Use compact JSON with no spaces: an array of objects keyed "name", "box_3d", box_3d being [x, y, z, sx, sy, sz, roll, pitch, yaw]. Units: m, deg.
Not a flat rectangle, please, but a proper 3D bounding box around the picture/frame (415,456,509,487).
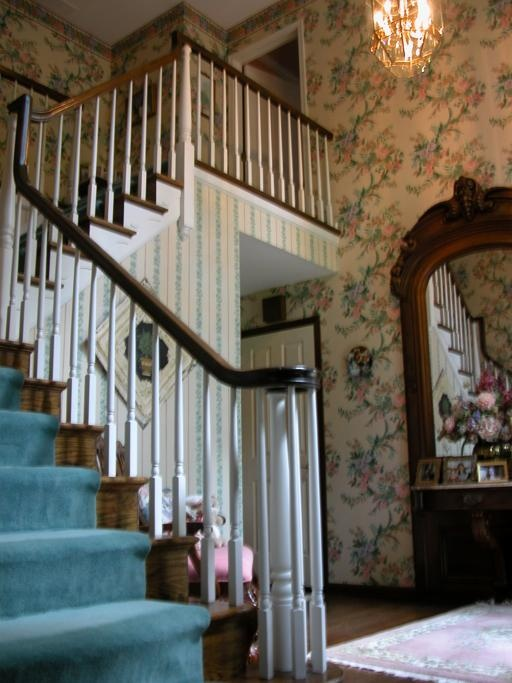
[{"name":"picture/frame","box_3d":[1.253,0.796,3.872,0.583,0.191,0.447,-6,-14,23]}]
